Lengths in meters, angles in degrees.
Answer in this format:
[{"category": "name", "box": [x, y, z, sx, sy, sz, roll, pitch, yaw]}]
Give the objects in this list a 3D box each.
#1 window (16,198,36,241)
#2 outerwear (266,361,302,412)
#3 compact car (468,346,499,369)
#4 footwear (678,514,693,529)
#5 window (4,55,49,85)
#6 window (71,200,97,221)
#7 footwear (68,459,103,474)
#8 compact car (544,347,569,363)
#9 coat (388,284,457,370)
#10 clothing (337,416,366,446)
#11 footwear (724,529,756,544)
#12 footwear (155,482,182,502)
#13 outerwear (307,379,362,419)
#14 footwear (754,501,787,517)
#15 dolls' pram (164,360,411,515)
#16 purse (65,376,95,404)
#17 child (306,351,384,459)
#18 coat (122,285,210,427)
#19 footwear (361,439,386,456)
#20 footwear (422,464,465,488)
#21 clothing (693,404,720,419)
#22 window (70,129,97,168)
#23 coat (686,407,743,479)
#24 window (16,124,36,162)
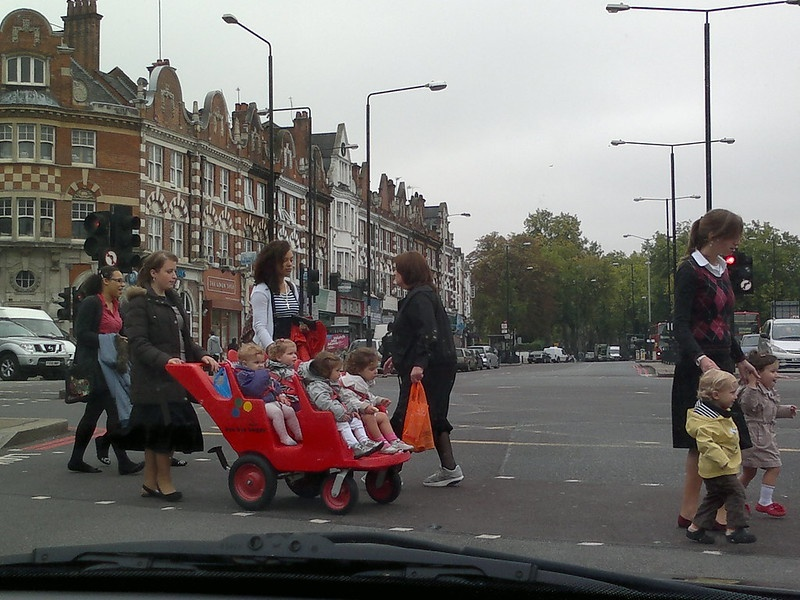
[{"category": "window", "box": [-14.044, -3.050, 40.121, 0.680, 1.388, 0.223, -1, 0, -21]}, {"category": "outerwear", "box": [-1.021, 0.729, 9.385, 0.302, 0.422, 0.394, -1, -5, -28]}, {"category": "compact car", "box": [4.815, 3.349, 62.877, 0.957, 0.987, 2.830, -1, 3, 16]}, {"category": "footwear", "box": [2.272, 1.760, 8.573, 0.097, 0.092, 0.077, 24, -21, -29]}, {"category": "window", "box": [-14.435, -8.674, 41.037, 1.150, 1.076, 0.156, 0, -10, -13]}, {"category": "window", "box": [-12.141, -3.373, 40.996, 0.635, 0.800, 0.821, -1, 0, 30]}, {"category": "footwear", "box": [-3.243, 1.680, 10.965, 0.368, 0.176, 0.126, 1, 0, -3]}, {"category": "compact car", "box": [14.191, 5.273, 99.297, 1.558, 1.308, 2.550, 2, 7, 38]}, {"category": "coat", "box": [0.209, 0.307, 10.174, 0.627, 1.005, 1.111, 0, -5, 3]}, {"category": "clothing", "box": [-0.434, 1.110, 9.138, 0.099, 0.262, 0.212, -35, -13, 23]}, {"category": "footwear", "box": [2.557, 1.765, 8.102, 0.189, 0.094, 0.104, -4, -1, 21]}, {"category": "footwear", "box": [-2.109, 1.687, 9.545, 0.330, 0.122, 0.116, 2, 3, 33]}, {"category": "outerwear", "box": [-0.590, 0.854, 9.175, 0.441, 0.353, 0.209, -1, 0, -6]}, {"category": "footwear", "box": [3.126, 1.745, 9.079, 0.193, 0.091, 0.112, -3, 3, 27]}, {"category": "dolls' pram", "box": [-0.976, 1.197, 9.586, 1.907, 1.253, 1.161, -2, -5, 11]}, {"category": "purse", "box": [-3.345, 0.921, 11.125, 0.258, 0.291, 0.133, -2, -3, -4]}, {"category": "child", "box": [-0.299, 0.889, 9.569, 0.920, 1.120, 0.527, -3, -5, 10]}, {"category": "coat", "box": [-2.140, 0.620, 9.759, 0.646, 1.947, 0.612, 2, 1, 43]}, {"category": "footwear", "box": [-0.241, 1.235, 9.076, 0.208, 0.097, 0.078, -12, -2, 17]}, {"category": "footwear", "box": [0.419, 1.697, 10.368, 0.422, 0.210, 0.159, -2, -5, 1]}, {"category": "clothing", "box": [2.341, 0.854, 8.206, 0.125, 0.076, 0.099, 17, -21, 14]}, {"category": "window", "box": [-12.124, -5.743, 40.880, 0.891, 1.332, 0.290, -1, 0, -22]}, {"category": "coat", "box": [2.415, 1.023, 8.345, 0.406, 0.631, 0.825, -6, -6, 23]}, {"category": "window", "box": [-14.011, -5.830, 40.034, 0.679, 1.309, 0.181, -1, 0, -20]}]
